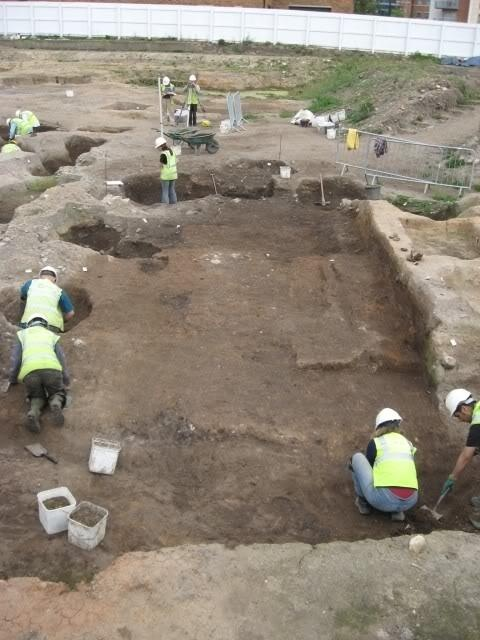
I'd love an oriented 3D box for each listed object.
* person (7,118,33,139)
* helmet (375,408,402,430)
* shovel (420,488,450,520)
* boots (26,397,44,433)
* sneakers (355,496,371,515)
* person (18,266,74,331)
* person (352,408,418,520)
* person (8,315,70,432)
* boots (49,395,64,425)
[{"bbox_3d":[-5.730,-4.974,14.662,0.560,0.527,0.968,-5,20,-18],"label":"person"},{"bbox_3d":[1.204,0.805,4.588,0.176,0.118,0.236,-9,-12,5],"label":"helmet"},{"bbox_3d":[1.576,1.432,4.546,0.177,0.180,0.366,10,21,23],"label":"shovel"},{"bbox_3d":[-1.857,0.856,5.111,0.149,0.202,0.451,-6,20,-19],"label":"boots"},{"bbox_3d":[0.988,1.470,4.513,0.080,0.061,0.148,1,33,-2],"label":"sneakers"},{"bbox_3d":[-2.017,-0.223,5.830,0.405,0.275,0.851,6,23,-10],"label":"person"},{"bbox_3d":[1.105,1.102,4.493,0.519,0.808,0.821,0,27,-1],"label":"person"},{"bbox_3d":[-1.835,0.487,5.122,0.496,0.337,1.113,4,39,-19],"label":"person"},{"bbox_3d":[-1.653,0.804,5.117,0.112,0.347,0.153,-1,-4,-17],"label":"boots"}]
